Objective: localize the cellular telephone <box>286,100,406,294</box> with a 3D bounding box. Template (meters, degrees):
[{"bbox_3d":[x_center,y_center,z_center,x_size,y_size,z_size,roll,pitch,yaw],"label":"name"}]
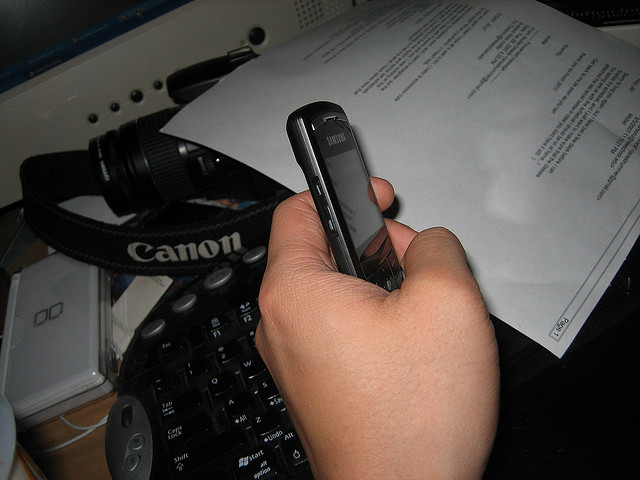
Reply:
[{"bbox_3d":[0.035,-0.040,0.582,0.098,0.232,0.039,-25,16,-37],"label":"cellular telephone"}]
